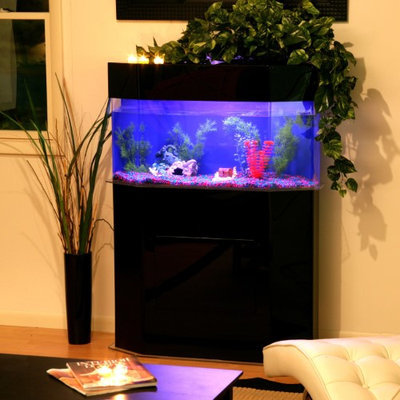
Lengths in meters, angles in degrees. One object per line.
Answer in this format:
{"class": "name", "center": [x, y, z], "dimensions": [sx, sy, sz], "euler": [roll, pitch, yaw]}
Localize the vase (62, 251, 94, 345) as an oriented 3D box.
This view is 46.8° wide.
{"class": "vase", "center": [-0.834, 0.682, 3.166], "dimensions": [0.171, 0.641, 0.101], "euler": [-2, 12, -19]}
